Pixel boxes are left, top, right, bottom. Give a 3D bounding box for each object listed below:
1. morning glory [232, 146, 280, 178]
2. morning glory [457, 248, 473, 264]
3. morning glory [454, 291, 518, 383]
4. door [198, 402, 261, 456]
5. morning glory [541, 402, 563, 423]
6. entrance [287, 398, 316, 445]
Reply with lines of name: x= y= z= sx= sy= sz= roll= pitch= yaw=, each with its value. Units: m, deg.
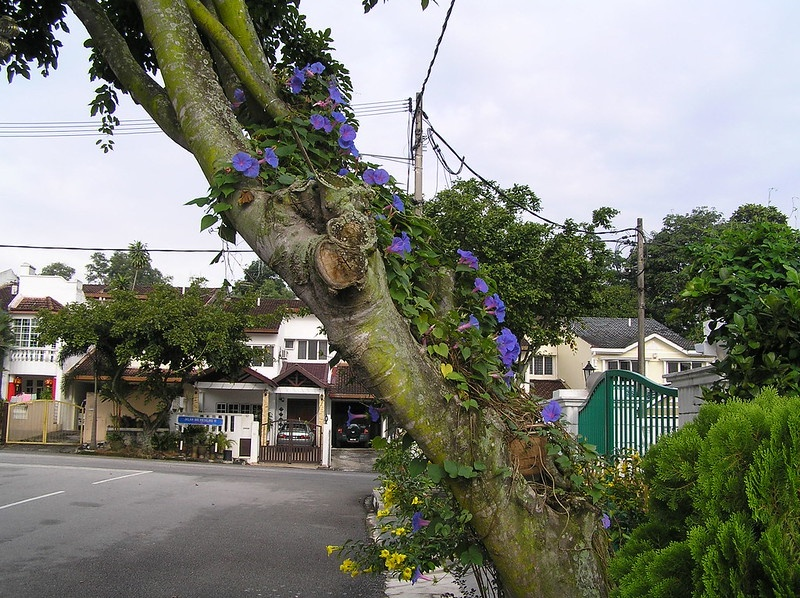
morning glory: x=-0.894 y=-0.861 z=4.155 sx=0.254 sy=0.188 sz=0.079 roll=-14 pitch=3 yaw=-19
morning glory: x=0.486 y=-0.311 z=4.919 sx=0.100 sy=0.072 sz=0.103 roll=26 pitch=0 yaw=22
morning glory: x=0.676 y=0.271 z=4.766 sx=0.349 sy=0.691 sz=0.884 roll=-2 pitch=-11 yaw=17
door: x=-6.661 y=5.507 z=25.966 sx=2.668 sy=2.852 sz=1.687 roll=1 pitch=-3 yaw=3
morning glory: x=1.039 y=0.777 z=4.561 sx=0.122 sy=0.163 sz=0.262 roll=-2 pitch=-11 yaw=19
entrance: x=-4.398 y=5.547 z=29.635 sx=1.268 sy=1.842 sz=0.173 roll=0 pitch=-9 yaw=-8
